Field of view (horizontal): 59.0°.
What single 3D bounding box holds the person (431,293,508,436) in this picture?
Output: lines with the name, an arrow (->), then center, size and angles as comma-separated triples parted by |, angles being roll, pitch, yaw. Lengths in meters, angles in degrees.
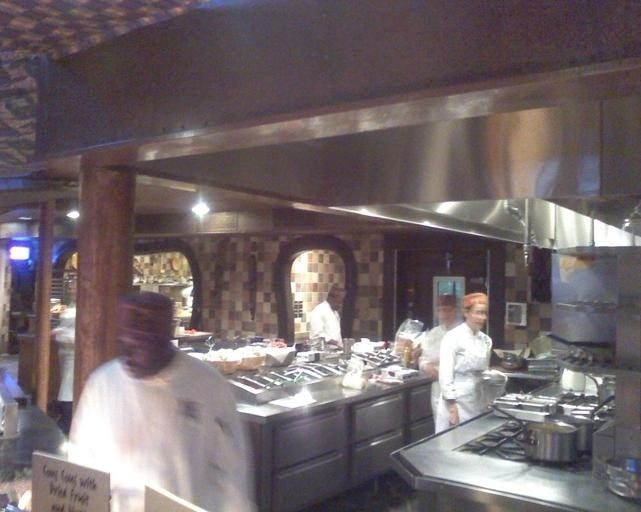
person -> 1.196, 0.863, 4.609 | 0.546, 1.123, 0.423 | 0, -6, -9

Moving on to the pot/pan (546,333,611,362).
pot/pan -> 1.126, 0.399, 2.450 | 0.257, 0.104, 0.154 | -4, -6, 35

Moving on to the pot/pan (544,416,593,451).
pot/pan -> 1.237, 0.903, 2.909 | 0.143, 0.160, 0.240 | 5, -9, -39

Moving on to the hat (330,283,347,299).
hat -> 0.206, 0.428, 7.022 | 0.160, 0.173, 0.201 | 5, 9, -15

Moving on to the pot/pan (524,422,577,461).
pot/pan -> 1.099, 0.885, 2.680 | 0.195, 0.133, 0.190 | -3, -8, 21

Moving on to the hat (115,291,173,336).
hat -> -0.651, 0.221, 2.167 | 0.119, 0.175, 0.289 | -3, -6, 20

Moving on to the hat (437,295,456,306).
hat -> 1.150, 0.387, 5.086 | 0.138, 0.087, 0.135 | 2, -4, -32
